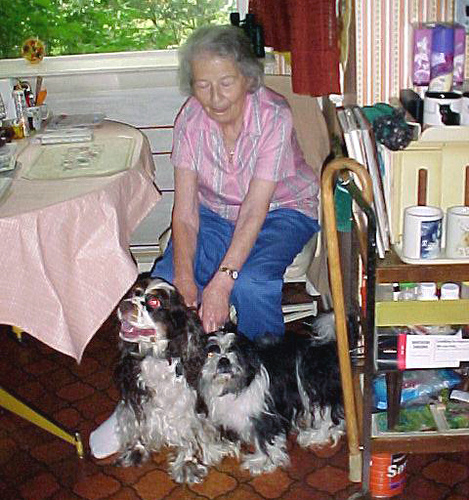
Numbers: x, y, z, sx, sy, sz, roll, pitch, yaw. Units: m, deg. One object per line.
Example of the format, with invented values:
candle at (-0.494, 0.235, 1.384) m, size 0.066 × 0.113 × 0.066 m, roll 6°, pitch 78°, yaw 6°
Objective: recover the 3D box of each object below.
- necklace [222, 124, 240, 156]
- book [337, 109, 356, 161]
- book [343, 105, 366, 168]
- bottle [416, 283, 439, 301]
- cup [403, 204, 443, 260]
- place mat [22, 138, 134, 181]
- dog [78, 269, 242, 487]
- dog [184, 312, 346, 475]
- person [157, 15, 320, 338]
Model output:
necklace at (-0.019, -0.368, 1.748) m, size 0.058 × 0.094 × 0.032 m, roll -6°, pitch 13°, yaw 4°
book at (0.265, -0.279, 1.254) m, size 0.031 × 0.132 × 0.031 m, roll -11°, pitch 1°, yaw -23°
book at (0.286, -0.270, 1.266) m, size 0.041 × 0.106 × 0.127 m, roll -1°, pitch 22°, yaw 7°
bottle at (0.481, 0.104, 1.315) m, size 0.058 × 0.059 × 0.039 m, roll -5°, pitch 8°, yaw 6°
cup at (0.405, -0.046, 1.194) m, size 0.070 × 0.112 × 0.124 m, roll 0°, pitch 28°, yaw 11°
place mat at (-0.528, -0.310, 1.797) m, size 0.235 × 0.018 × 0.238 m, roll -1°, pitch 36°, yaw 6°
dog at (-0.218, 0.348, 1.495) m, size 0.401 × 0.536 × 0.370 m, roll -4°, pitch 14°, yaw -18°
dog at (0.140, 0.407, 1.595) m, size 0.543 × 0.474 × 0.193 m, roll -1°, pitch 4°, yaw -35°
person at (-0.028, -0.237, 1.720) m, size 0.456 × 0.924 × 0.729 m, roll 6°, pitch 23°, yaw 25°
